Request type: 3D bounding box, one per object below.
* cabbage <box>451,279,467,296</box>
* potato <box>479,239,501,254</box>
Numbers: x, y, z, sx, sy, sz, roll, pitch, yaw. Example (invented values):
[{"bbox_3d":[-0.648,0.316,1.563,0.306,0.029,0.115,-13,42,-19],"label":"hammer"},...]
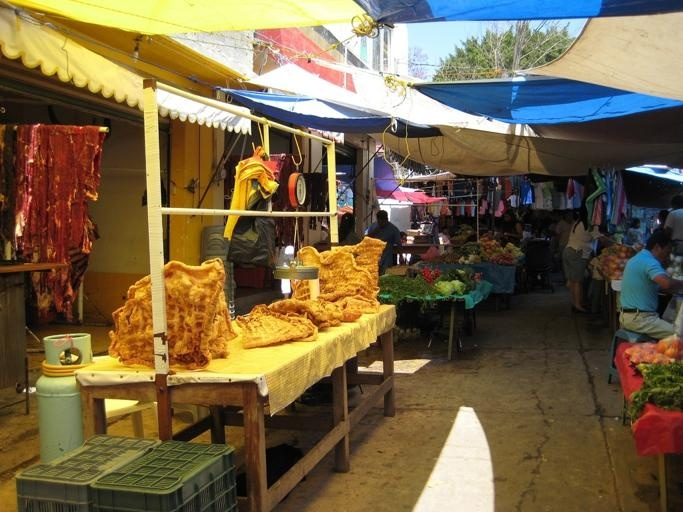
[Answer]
[{"bbox_3d":[1.706,0.453,8.008,0.215,0.122,0.171,-6,8,-44],"label":"cabbage"},{"bbox_3d":[3.392,-0.220,12.665,0.375,0.221,0.466,1,1,-36],"label":"potato"}]
